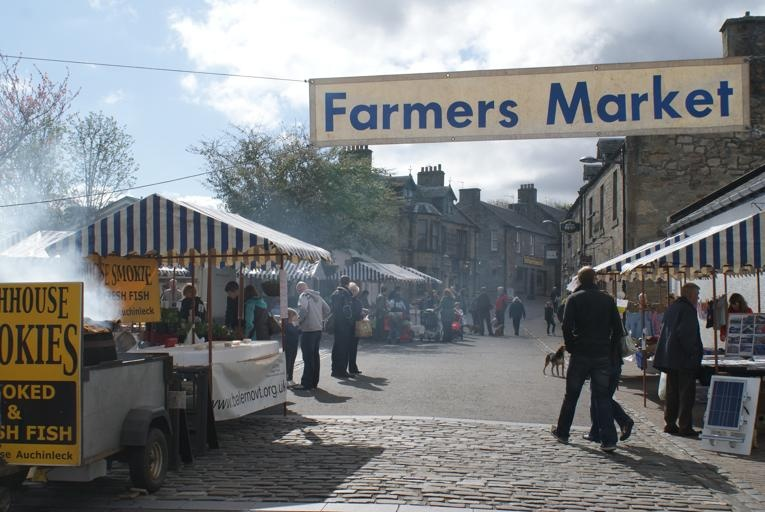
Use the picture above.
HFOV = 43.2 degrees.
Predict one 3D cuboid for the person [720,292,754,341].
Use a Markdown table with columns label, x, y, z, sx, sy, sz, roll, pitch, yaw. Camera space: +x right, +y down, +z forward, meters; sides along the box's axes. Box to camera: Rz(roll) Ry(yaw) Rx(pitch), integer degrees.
| label | x | y | z | sx | sy | sz | roll | pitch | yaw |
| --- | --- | --- | --- | --- | --- | --- | --- | --- | --- |
| person | 6.427 | 1.091 | 17.532 | 0.460 | 0.822 | 1.807 | -3 | -4 | 20 |

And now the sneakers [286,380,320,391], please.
| label | x | y | z | sx | sy | sz | roll | pitch | yaw |
| --- | --- | --- | --- | --- | --- | --- | --- | --- | --- |
| sneakers | -1.624 | 2.580 | 19.134 | 0.623 | 0.278 | 0.219 | -5 | -6 | 18 |

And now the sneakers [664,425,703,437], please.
| label | x | y | z | sx | sy | sz | roll | pitch | yaw |
| --- | --- | --- | --- | --- | --- | --- | --- | --- | --- |
| sneakers | 4.822 | 2.853 | 15.545 | 0.644 | 0.276 | 0.201 | -3 | -4 | 0 |

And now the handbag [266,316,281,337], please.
| label | x | y | z | sx | sy | sz | roll | pitch | yaw |
| --- | --- | --- | --- | --- | --- | --- | --- | --- | --- |
| handbag | -2.008 | 1.304 | 17.917 | 0.217 | 0.392 | 0.708 | -1 | -4 | -7 |

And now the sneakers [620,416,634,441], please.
| label | x | y | z | sx | sy | sz | roll | pitch | yaw |
| --- | --- | --- | --- | --- | --- | --- | --- | --- | --- |
| sneakers | 3.797 | 2.678 | 15.004 | 0.181 | 0.430 | 0.179 | 3 | 20 | -6 |

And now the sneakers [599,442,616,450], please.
| label | x | y | z | sx | sy | sz | roll | pitch | yaw |
| --- | --- | --- | --- | --- | --- | --- | --- | --- | --- |
| sneakers | 3.426 | 2.877 | 14.549 | 0.279 | 0.130 | 0.225 | -1 | -4 | -8 |

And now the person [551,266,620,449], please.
| label | x | y | z | sx | sy | sz | roll | pitch | yaw |
| --- | --- | --- | --- | --- | --- | --- | --- | --- | --- |
| person | 3.179 | 1.570 | 14.863 | 1.041 | 2.789 | 0.642 | -2 | -3 | 14 |
